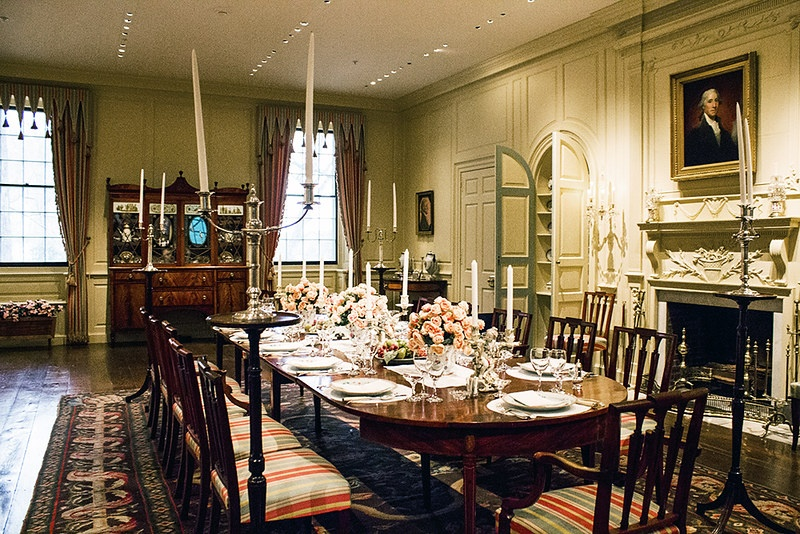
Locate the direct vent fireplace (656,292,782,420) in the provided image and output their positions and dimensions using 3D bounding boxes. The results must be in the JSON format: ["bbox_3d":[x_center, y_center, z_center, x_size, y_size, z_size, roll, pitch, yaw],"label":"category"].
[{"bbox_3d":[3.265,0.913,5.903,0.446,1.140,1.358,3,-5,-21],"label":"direct vent fireplace"}]
